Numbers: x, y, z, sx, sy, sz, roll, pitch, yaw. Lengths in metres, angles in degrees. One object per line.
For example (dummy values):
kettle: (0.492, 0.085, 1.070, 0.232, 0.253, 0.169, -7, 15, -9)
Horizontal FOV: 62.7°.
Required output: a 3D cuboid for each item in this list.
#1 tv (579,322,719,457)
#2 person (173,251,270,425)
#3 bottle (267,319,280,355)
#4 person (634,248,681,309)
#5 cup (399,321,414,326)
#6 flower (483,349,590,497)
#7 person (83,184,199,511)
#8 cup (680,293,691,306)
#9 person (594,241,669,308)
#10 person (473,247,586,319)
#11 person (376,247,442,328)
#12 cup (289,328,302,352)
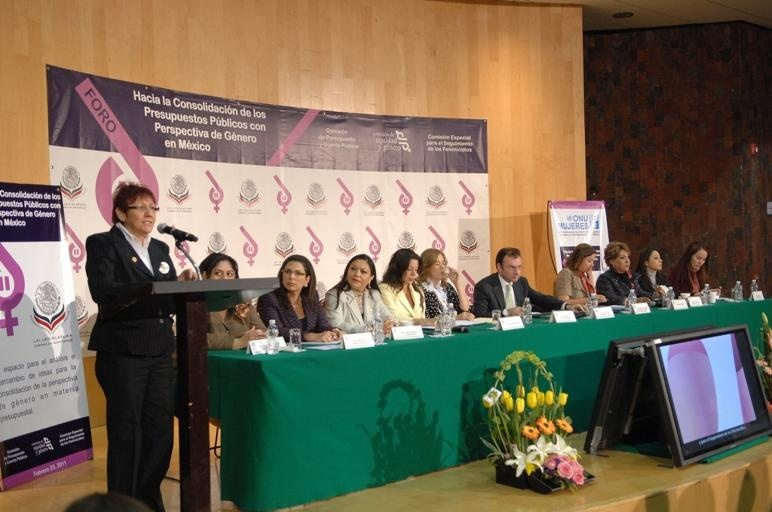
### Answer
tv: (1.948, 0.914, 4.239, 1.017, 0.811, 0.541, 3, -6, -45)
person: (-1.163, 0.649, 4.727, 0.514, 1.596, 0.492, -3, 35, -15)
bottle: (-0.672, 0.481, 3.751, 0.071, 0.201, 0.204, -7, -1, -11)
person: (2.923, 0.403, 6.950, 0.371, 0.927, 0.459, -3, 5, -29)
cup: (0.131, 0.453, 4.270, 0.048, 0.040, 0.040, -4, 0, 15)
flower: (0.983, 0.965, 4.087, 0.721, 0.950, 0.717, -2, -2, -42)
person: (-1.431, 0.552, 3.673, 0.521, 1.927, 0.750, -7, 0, -25)
cup: (2.633, 0.380, 5.615, 0.095, 0.138, 0.102, 0, 4, 0)
person: (2.433, 0.232, 6.575, 0.718, 0.940, 0.658, -6, -5, 42)
person: (1.285, 0.305, 5.620, 1.016, 0.729, 0.544, -1, 2, 42)
person: (0.176, 0.431, 5.517, 0.418, 0.963, 0.509, 6, -13, -26)
cup: (-0.545, 0.510, 3.818, 0.097, 0.178, 0.102, 0, -8, 0)
